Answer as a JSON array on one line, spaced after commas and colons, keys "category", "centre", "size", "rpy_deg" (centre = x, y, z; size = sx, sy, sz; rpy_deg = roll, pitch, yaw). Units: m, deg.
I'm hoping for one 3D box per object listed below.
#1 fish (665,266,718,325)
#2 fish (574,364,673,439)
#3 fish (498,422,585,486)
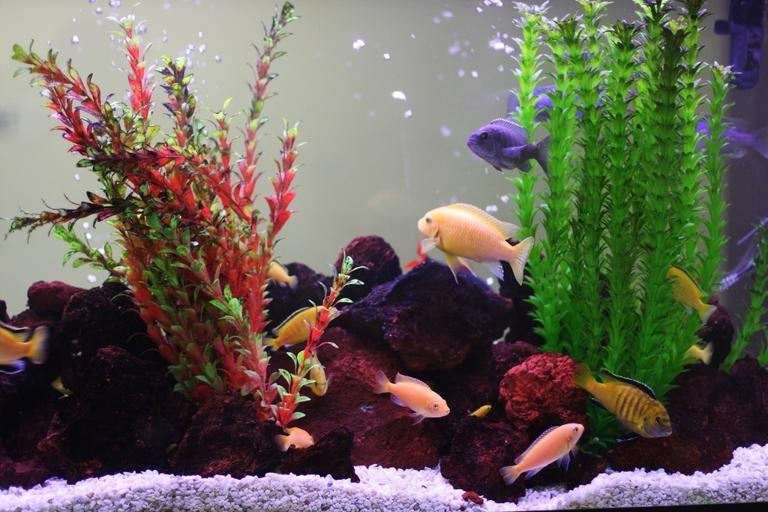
[{"category": "fish", "centre": [2.138, 0.258, 4.903], "size": [0.292, 0.394, 0.213], "rpy_deg": [3, 24, 26]}, {"category": "fish", "centre": [1.598, 0.997, 4.748], "size": [0.706, 0.355, 0.178], "rpy_deg": [34, 24, 33]}, {"category": "fish", "centre": [1.056, 1.331, 4.687], "size": [0.538, 0.253, 0.122], "rpy_deg": [-34, 14, -6]}]
